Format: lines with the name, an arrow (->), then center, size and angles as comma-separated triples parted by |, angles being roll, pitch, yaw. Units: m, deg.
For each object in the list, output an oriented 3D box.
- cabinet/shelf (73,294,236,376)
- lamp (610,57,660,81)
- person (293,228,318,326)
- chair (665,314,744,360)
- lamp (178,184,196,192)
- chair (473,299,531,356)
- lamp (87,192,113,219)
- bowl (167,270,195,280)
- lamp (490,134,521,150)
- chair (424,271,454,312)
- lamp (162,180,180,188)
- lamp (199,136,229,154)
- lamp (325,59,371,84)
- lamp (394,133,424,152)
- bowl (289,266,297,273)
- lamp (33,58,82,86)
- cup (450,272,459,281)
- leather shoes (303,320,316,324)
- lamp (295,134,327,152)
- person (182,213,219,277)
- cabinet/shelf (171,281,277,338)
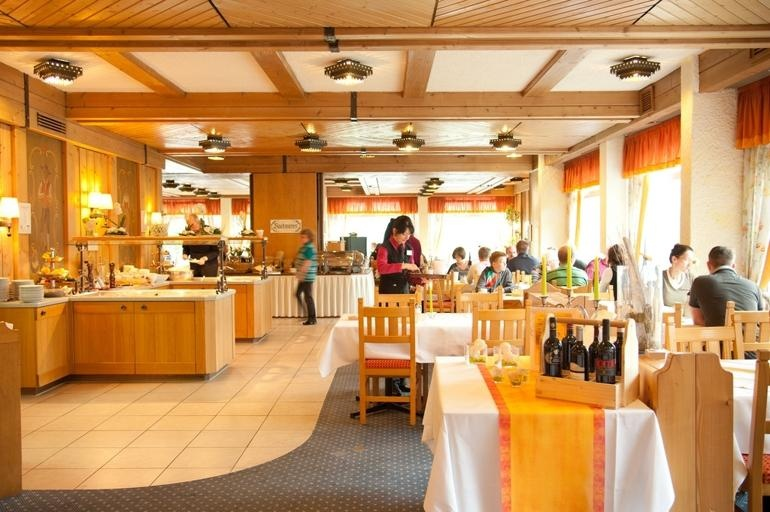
cabinet/shelf -> -2.902, 0.960, 7.311 | 1.697, 0.707, 1.131 | -1, -5, -2
lamp -> 3.212, -2.320, 7.054 | 0.403, 0.172, 0.409 | 5, -8, -39
person -> -1.492, 0.388, 10.545 | 0.386, 1.870, 1.133 | -3, 11, -8
chair -> 2.645, 0.705, 4.648 | 0.441, 0.354, 0.826 | 8, 12, 41
lamp -> -5.975, -2.022, 16.764 | 0.357, 0.139, 0.322 | 2, 0, 4
chair -> 1.044, 0.670, 5.157 | 0.475, 0.595, 1.031 | 1, 9, 8
lamp -> -4.779, -0.843, 9.421 | 0.466, 0.408, 0.429 | 1, -3, -12
bowl -> -3.414, 0.300, 9.334 | 0.374, 0.138, 0.560 | -4, 9, -19
lamp -> 1.919, -1.857, 9.311 | 0.458, 0.123, 0.426 | 2, -5, -29
chair -> 0.817, 0.509, 8.135 | 0.520, 0.667, 0.474 | -3, -22, 4
lamp -> -6.045, -2.008, 15.704 | 0.378, 0.149, 0.345 | 1, 0, 1
lamp -> -2.849, -1.845, 9.463 | 0.628, 0.245, 0.517 | 0, 4, -7
lamp -> -0.464, -2.310, 7.039 | 0.563, 0.291, 0.359 | -1, 10, -5
lamp -> 0.388, -1.937, 9.539 | 0.440, 0.274, 0.512 | -1, 9, -1
bowl -> -1.951, 0.293, 11.947 | 0.158, 0.080, 0.146 | 1, -5, 0
lamp -> -4.198, -2.319, 7.142 | 0.453, 0.189, 0.421 | 2, 1, 18
cup -> 1.160, 0.336, 9.383 | 0.184, 0.146, 0.113 | -4, -16, 14
leather shoes -> -1.437, 1.246, 10.667 | 0.239, 0.133, 0.084 | 2, -6, 4
lamp -> -1.275, -1.948, 9.643 | 0.499, 0.269, 0.448 | -2, -1, -9
person -> -3.105, -0.158, 9.408 | 0.556, 1.113, 1.848 | -5, 10, -19
cabinet/shelf -> -2.404, 0.831, 9.107 | 1.254, 0.627, 1.127 | 0, -3, 0
